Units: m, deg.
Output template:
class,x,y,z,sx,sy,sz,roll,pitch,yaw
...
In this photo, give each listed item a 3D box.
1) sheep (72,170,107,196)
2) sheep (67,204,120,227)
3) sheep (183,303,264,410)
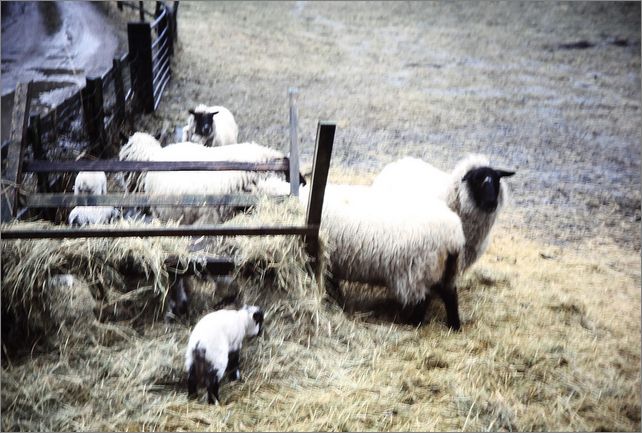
class,x,y,z,sx,sy,sz,roll,pitch,yaw
sheep,-3.712,-0.546,10.687,0.493,0.400,0.417,-1,21,-20
sheep,-3.568,0.002,10.360,0.816,0.353,0.397,5,20,-6
sheep,-1.353,1.899,9.201,1.016,1.186,0.427,-8,22,-34
